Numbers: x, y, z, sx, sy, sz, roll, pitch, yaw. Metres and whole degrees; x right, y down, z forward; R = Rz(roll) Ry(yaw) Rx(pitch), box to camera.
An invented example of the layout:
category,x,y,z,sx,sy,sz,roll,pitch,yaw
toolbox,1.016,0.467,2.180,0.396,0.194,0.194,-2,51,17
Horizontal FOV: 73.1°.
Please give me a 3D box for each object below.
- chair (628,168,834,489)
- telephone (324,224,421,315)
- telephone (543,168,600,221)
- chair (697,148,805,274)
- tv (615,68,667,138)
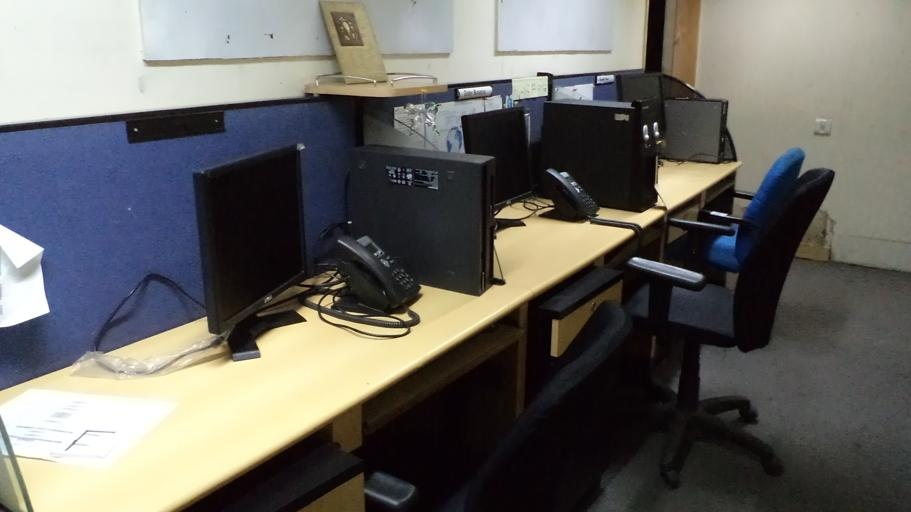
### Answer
category,x,y,z,sx,sy,sz,roll,pitch,yaw
chair,1.355,0.309,3.436,1.102,1.509,1.093,7,11,34
telephone,-0.346,0.073,2.698,0.382,0.143,0.303,41,34,4
telephone,0.629,-0.346,3.557,0.140,0.307,0.286,-30,-14,-3
chair,1.745,-0.353,3.780,0.570,0.693,0.691,-19,25,-34
tv,1.377,-1.225,4.427,0.162,0.559,0.584,0,4,43
